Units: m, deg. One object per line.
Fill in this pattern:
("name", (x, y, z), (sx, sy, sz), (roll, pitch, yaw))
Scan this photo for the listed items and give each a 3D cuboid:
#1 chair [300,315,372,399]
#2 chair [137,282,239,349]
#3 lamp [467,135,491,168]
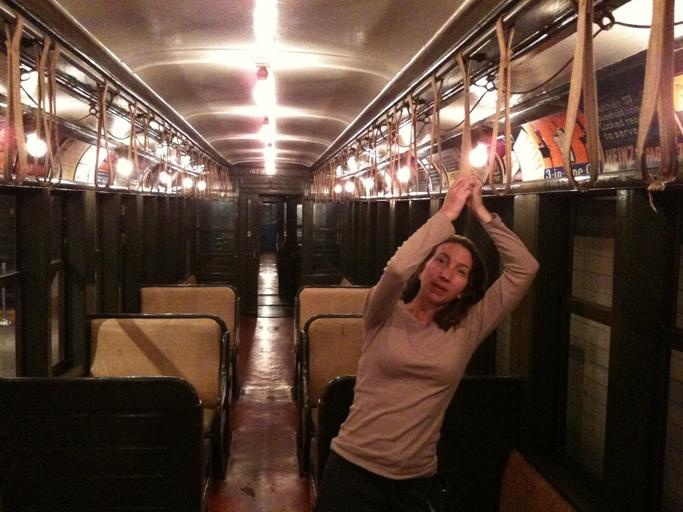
("chair", (-0.065, 1.006, 5.221), (0.766, 1.038, 0.772), (1, 9, -8))
("chair", (-2.000, 0.607, 6.875), (1.488, 1.109, 0.784), (0, -5, -4))
("lamp", (1.233, -0.892, 4.601), (0.152, 0.222, 0.197), (3, 5, 18))
